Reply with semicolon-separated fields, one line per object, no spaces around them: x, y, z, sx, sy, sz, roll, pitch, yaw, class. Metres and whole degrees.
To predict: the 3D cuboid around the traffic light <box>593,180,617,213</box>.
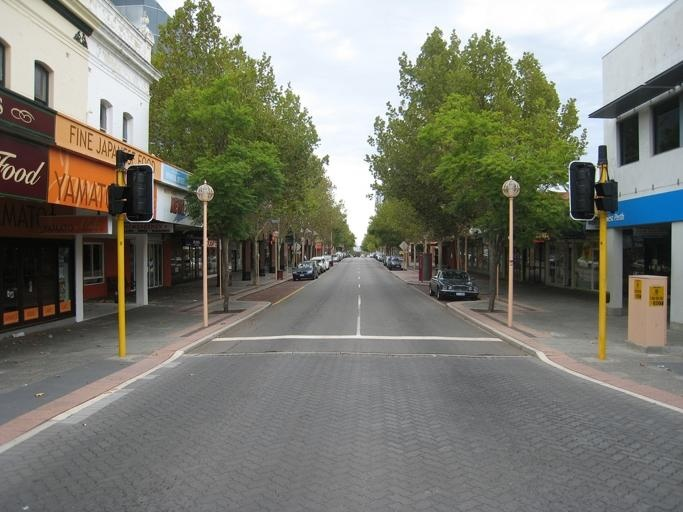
6.619;-1.509;14.850;0.508;0.821;0.279;5;13;24;traffic light
